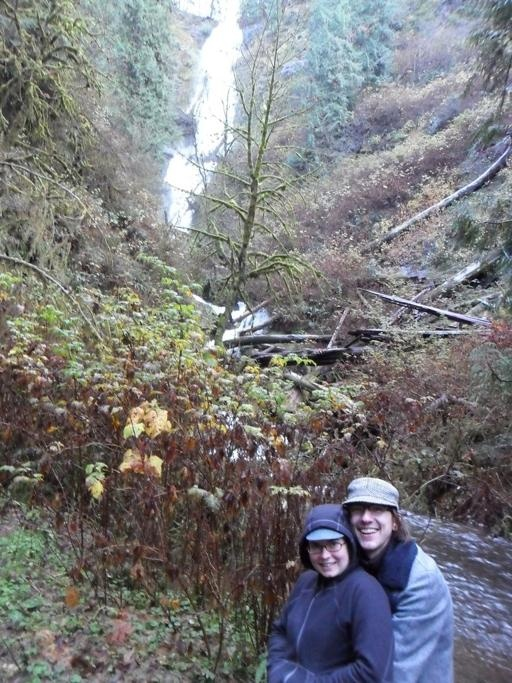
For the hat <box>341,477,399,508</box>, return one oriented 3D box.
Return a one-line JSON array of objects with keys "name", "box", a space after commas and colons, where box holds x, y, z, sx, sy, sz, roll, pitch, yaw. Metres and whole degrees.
[{"name": "hat", "box": [0.490, 0.617, 2.308, 0.175, 0.065, 0.129, 17, -16, -35]}]
